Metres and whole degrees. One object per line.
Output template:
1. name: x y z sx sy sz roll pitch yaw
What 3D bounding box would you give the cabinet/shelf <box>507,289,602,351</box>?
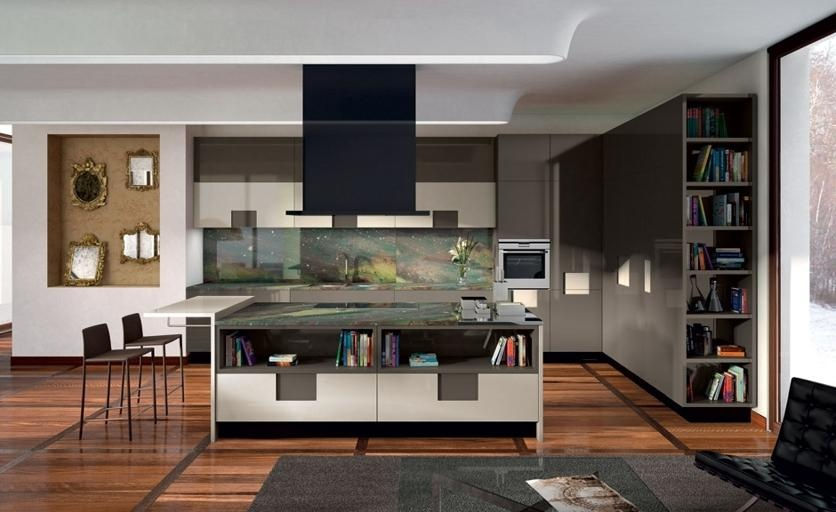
1. cabinet/shelf: 2.168 1.004 10.337 1.250 0.787 0.655 -4 0 45

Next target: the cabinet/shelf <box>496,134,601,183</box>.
1. cabinet/shelf: 2.210 -1.492 10.150 0.475 0.678 1.419 -5 10 -3

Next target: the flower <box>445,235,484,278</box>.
1. flower: 0.673 0.066 10.411 0.424 0.504 0.384 6 -7 -23

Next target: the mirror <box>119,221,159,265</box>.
1. mirror: -4.101 -0.191 10.215 0.738 0.651 0.024 1 0 16

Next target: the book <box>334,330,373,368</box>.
1. book: -0.698 1.046 7.679 0.395 0.486 0.513 1 -2 1

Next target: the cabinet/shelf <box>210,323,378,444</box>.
1. cabinet/shelf: -1.329 1.400 8.031 1.871 1.040 0.883 0 -3 1

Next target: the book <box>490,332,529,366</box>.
1. book: 1.034 1.046 7.842 0.381 0.347 0.124 -2 0 0

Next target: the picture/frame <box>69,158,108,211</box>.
1. picture/frame: -4.837 -1.064 10.161 0.510 0.667 0.108 -1 1 2

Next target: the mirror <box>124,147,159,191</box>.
1. mirror: -4.069 -1.313 10.182 0.732 0.817 0.088 0 1 -5

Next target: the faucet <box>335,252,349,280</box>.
1. faucet: -1.146 0.164 10.493 0.194 0.301 0.067 -1 1 16
